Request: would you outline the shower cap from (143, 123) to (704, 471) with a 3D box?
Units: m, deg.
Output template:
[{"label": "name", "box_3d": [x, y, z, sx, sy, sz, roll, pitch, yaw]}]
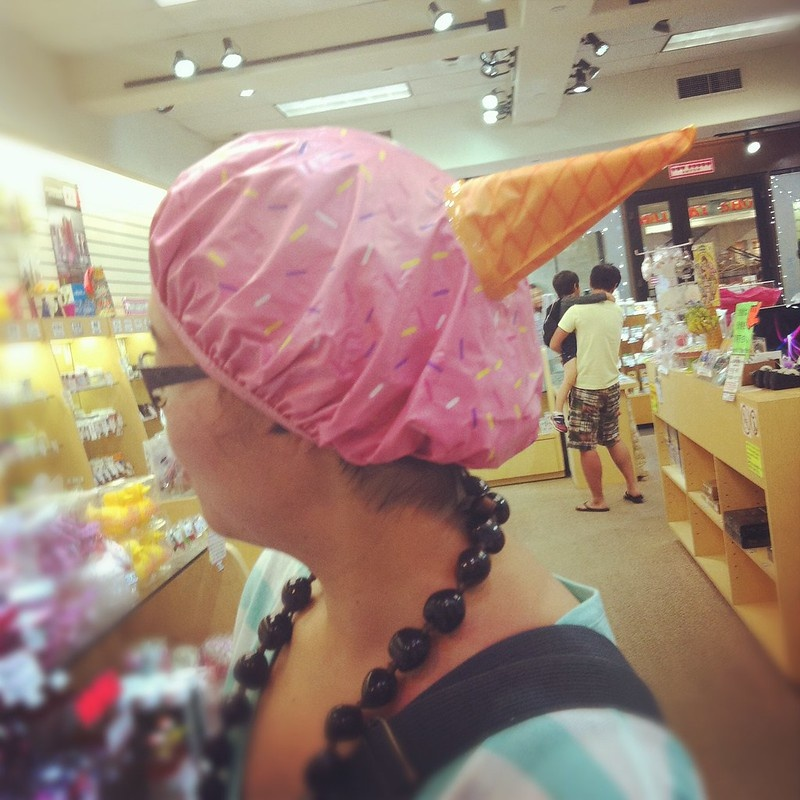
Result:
[{"label": "shower cap", "box_3d": [0.019, -0.112, 0.585, 0.376, 0.266, 0.276, 22, 18, 9]}]

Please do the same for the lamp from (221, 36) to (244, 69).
[{"label": "lamp", "box_3d": [-1.135, -2.317, 4.011, 0.145, 0.163, 0.242, 2, 33, -18]}]

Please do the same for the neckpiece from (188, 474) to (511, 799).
[{"label": "neckpiece", "box_3d": [-0.013, 0.167, 0.461, 0.267, 0.035, 0.153, -53, 16, -6]}]

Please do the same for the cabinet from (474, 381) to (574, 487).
[{"label": "cabinet", "box_3d": [1.096, 0.335, 5.670, 0.733, 0.714, 0.744, -10, 16, 6]}]

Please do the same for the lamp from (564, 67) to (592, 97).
[{"label": "lamp", "box_3d": [1.668, -3.096, 5.837, 0.276, 0.123, 0.293, -26, 56, -21]}]

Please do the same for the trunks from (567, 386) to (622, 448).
[{"label": "trunks", "box_3d": [1.393, 0.074, 4.323, 0.389, 0.482, 0.264, -2, 16, 8]}]

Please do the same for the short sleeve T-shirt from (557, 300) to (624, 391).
[{"label": "short sleeve T-shirt", "box_3d": [1.289, -0.387, 4.128, 0.519, 0.647, 0.310, -6, 16, -11]}]
